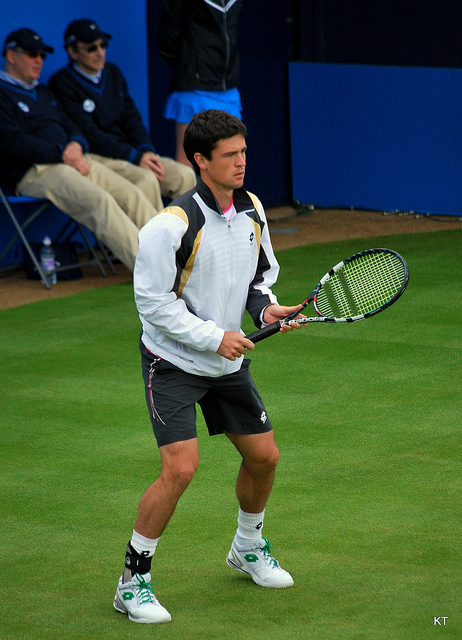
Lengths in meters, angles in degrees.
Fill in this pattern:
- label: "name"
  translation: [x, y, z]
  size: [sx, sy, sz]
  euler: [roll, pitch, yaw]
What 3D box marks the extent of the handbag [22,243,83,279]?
- label: "handbag"
  translation: [-1.680, -0.553, 6.932]
  size: [0.676, 0.316, 0.415]
  euler: [-1, -4, 5]
